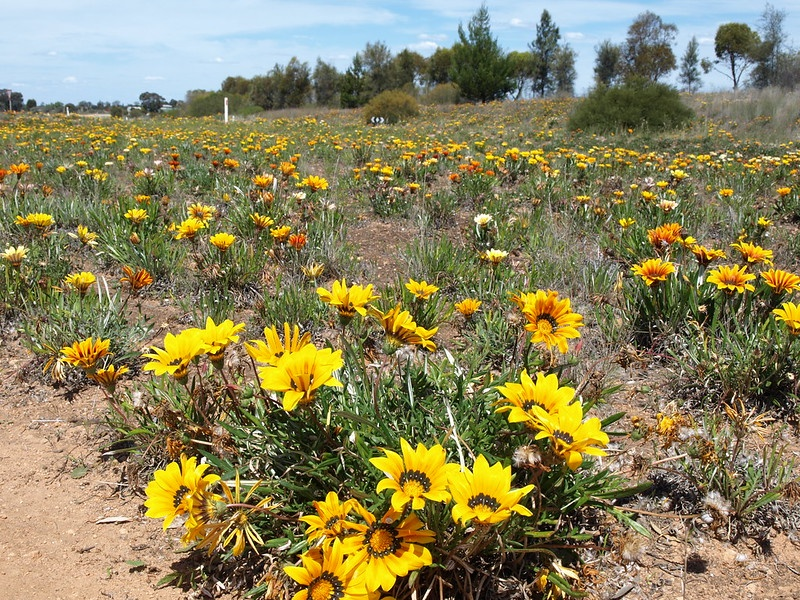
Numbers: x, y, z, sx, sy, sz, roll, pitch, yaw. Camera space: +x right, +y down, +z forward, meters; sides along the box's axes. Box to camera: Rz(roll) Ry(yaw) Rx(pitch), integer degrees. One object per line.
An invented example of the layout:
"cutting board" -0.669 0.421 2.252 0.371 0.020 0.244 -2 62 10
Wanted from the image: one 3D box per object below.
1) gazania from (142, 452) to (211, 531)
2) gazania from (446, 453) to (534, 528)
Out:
"gazania" -1.055 0.917 2.868 0.270 0.406 0.440 -4 8 -11
"gazania" 0.354 0.828 2.568 0.289 0.137 0.326 21 48 9
